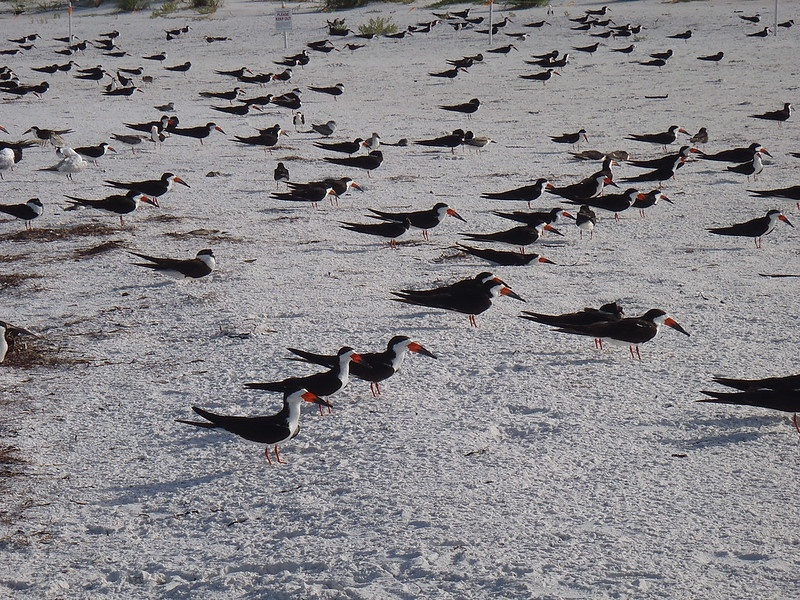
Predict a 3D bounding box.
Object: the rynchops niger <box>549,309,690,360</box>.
[{"bbox_3d":[4.482,0.684,30.624,3.066,0.934,0.740,4,-4,-21],"label":"rynchops niger"}]
